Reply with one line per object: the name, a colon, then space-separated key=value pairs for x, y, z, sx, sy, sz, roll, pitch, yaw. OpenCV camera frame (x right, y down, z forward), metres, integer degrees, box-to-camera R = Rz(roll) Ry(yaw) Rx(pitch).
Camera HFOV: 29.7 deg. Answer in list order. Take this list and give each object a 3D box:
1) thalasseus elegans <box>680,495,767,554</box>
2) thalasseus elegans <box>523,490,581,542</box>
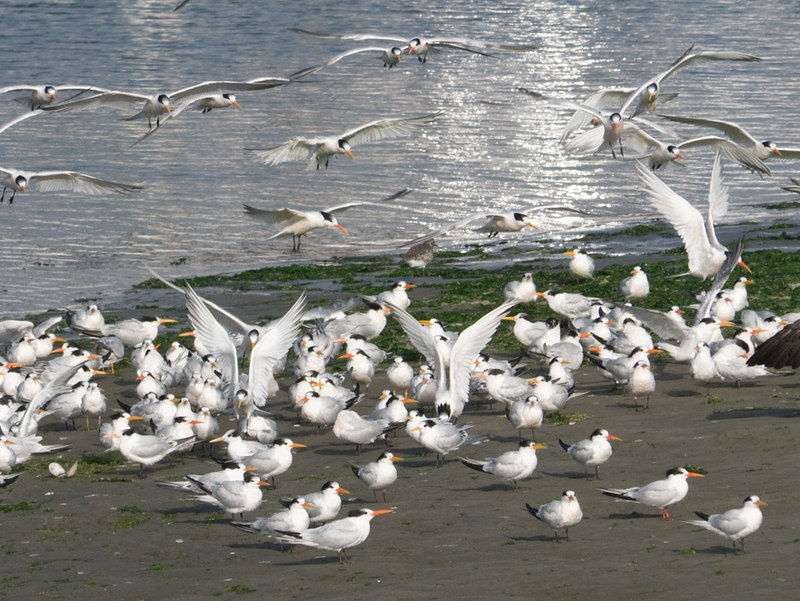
thalasseus elegans: x=8.609 y=5.761 z=39.073 sx=0.993 sy=1.194 sz=2.743 roll=-15 pitch=5 yaw=-42
thalasseus elegans: x=4.134 y=5.601 z=39.683 sx=1.233 sy=1.370 sz=0.736 roll=13 pitch=36 yaw=30
